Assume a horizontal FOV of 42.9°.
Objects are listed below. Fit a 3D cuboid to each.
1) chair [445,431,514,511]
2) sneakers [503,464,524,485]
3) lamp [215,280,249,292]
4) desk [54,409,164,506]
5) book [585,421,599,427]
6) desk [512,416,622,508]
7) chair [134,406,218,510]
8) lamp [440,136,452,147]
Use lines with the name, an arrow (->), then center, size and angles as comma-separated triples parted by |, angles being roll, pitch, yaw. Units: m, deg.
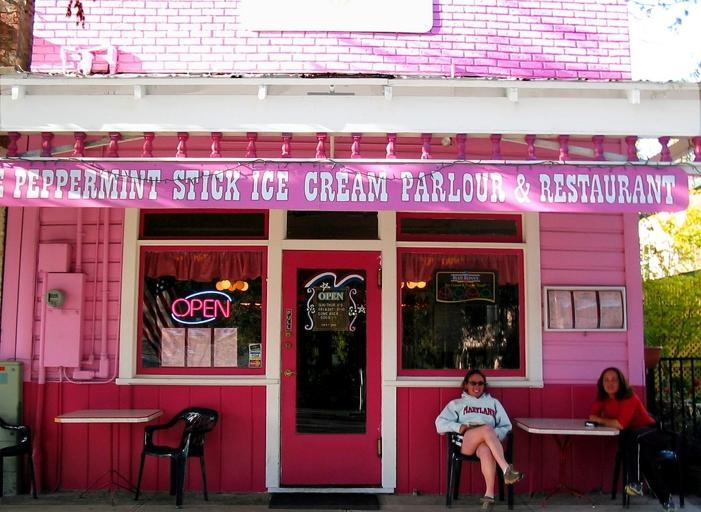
chair -> 1.335, 2.483, 10.382 | 0.856, 1.131, 0.795 | 0, -17, 5
sneakers -> 1.733, 2.408, 9.776 | 0.123, 0.202, 0.352 | 0, -15, -21
lamp -> -1.439, 0.335, 10.824 | 0.363, 0.128, 0.047 | 2, 9, 0
desk -> -2.751, 2.312, 10.325 | 1.038, 0.941, 1.055 | -1, -12, 2
book -> 2.705, 1.895, 10.070 | 0.125, 0.078, 0.269 | -4, -14, 17
desk -> 2.414, 2.349, 10.319 | 0.927, 0.817, 1.018 | 0, -7, 29
chair -> -1.985, 2.281, 10.259 | 0.882, 1.114, 0.718 | 4, -14, -13
lamp -> 1.158, -1.385, 10.787 | 0.124, 0.103, 0.111 | 0, -13, 3
